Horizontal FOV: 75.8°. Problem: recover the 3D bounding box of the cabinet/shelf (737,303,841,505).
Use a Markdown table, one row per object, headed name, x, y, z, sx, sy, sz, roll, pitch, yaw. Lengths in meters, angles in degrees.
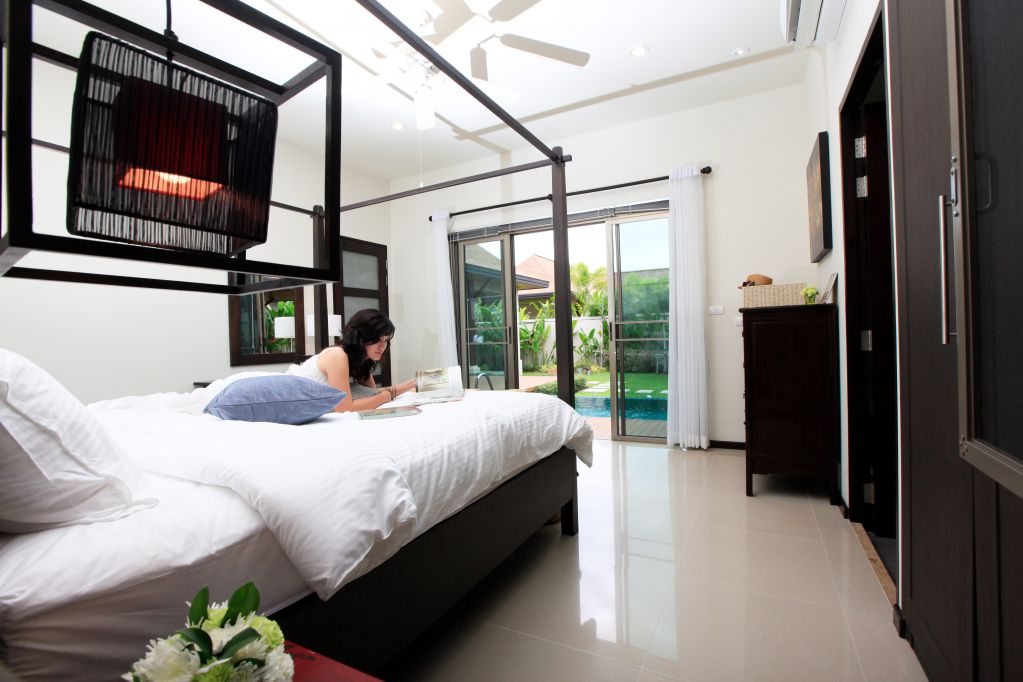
| name | x | y | z | sx | sy | sz | roll | pitch | yaw |
| --- | --- | --- | --- | --- | --- | --- | --- | --- | --- |
| cabinet/shelf | 1.808 | 0.392 | 4.215 | 0.473 | 1.146 | 1.218 | -1 | -3 | 24 |
